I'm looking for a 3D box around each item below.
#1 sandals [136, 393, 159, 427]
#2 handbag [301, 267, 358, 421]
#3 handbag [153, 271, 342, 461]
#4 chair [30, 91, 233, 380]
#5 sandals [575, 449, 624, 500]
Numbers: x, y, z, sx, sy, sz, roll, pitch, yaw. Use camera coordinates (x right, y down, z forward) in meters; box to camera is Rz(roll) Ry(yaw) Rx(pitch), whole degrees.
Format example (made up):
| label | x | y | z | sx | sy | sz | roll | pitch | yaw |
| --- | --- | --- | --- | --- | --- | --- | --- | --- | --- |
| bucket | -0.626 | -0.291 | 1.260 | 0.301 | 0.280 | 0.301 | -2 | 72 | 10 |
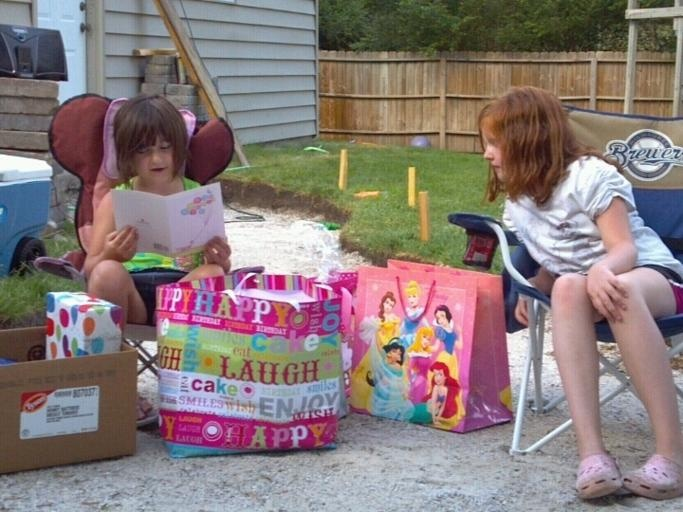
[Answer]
| label | x | y | z | sx | sy | sz | roll | pitch | yaw |
| --- | --- | --- | --- | --- | --- | --- | --- | --- | --- |
| sandals | -0.848 | 0.641 | 3.105 | 0.083 | 0.045 | 0.112 | 0 | 8 | -37 |
| handbag | -0.061 | 0.389 | 3.028 | 0.208 | 0.666 | 0.505 | 1 | 9 | 2 |
| handbag | -0.365 | 0.331 | 3.122 | 0.818 | 0.843 | 0.597 | 0 | 6 | 1 |
| chair | -1.082 | -0.134 | 3.619 | 1.019 | 1.636 | 1.110 | -2 | 5 | -3 |
| sandals | 0.898 | 0.756 | 2.582 | 0.100 | 0.092 | 0.206 | -18 | -5 | 12 |
